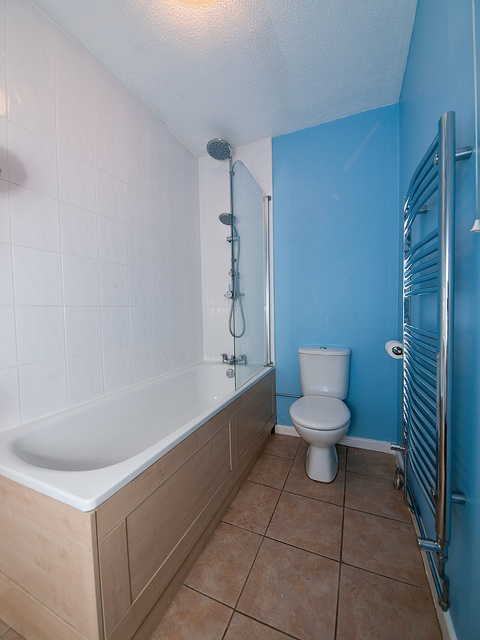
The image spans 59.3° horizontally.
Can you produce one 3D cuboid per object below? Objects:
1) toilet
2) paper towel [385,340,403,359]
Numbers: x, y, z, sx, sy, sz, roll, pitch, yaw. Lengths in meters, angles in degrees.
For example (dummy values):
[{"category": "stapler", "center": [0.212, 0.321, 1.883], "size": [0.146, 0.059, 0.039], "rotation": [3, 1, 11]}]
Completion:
[{"category": "toilet", "center": [0.470, 0.533, 2.447], "size": [0.242, 0.697, 0.527], "rotation": [1, 11, 16]}, {"category": "paper towel", "center": [0.773, 0.129, 2.130], "size": [0.060, 0.097, 0.092], "rotation": [4, 4, 5]}]
